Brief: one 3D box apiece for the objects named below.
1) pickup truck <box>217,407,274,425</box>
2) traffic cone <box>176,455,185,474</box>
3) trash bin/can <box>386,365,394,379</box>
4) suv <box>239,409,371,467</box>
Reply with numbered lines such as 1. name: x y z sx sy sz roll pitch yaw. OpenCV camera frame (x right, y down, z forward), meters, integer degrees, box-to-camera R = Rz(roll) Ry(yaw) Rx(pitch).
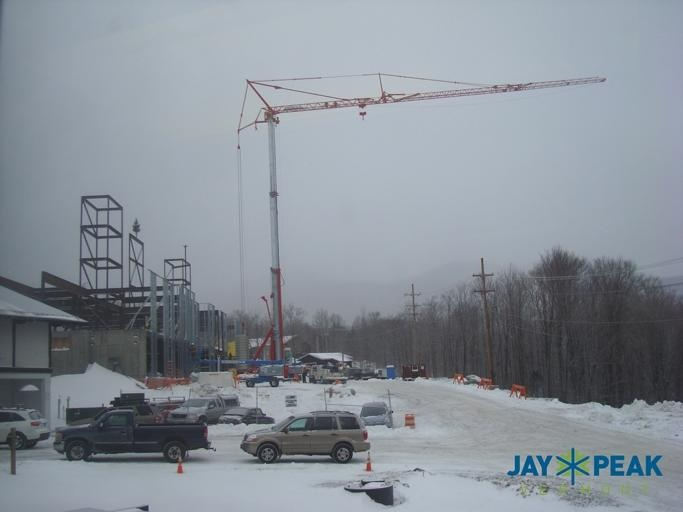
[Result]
1. pickup truck: -6.427 10.590 64.736 2.788 1.375 1.615 10 -12 -23
2. traffic cone: -8.470 10.957 50.734 0.480 0.946 0.514 -1 -3 4
3. trash bin/can: 5.540 13.116 110.620 0.807 1.389 2.497 -1 -10 -2
4. suv: -2.130 10.051 54.401 6.220 2.898 3.096 3 -10 -2
